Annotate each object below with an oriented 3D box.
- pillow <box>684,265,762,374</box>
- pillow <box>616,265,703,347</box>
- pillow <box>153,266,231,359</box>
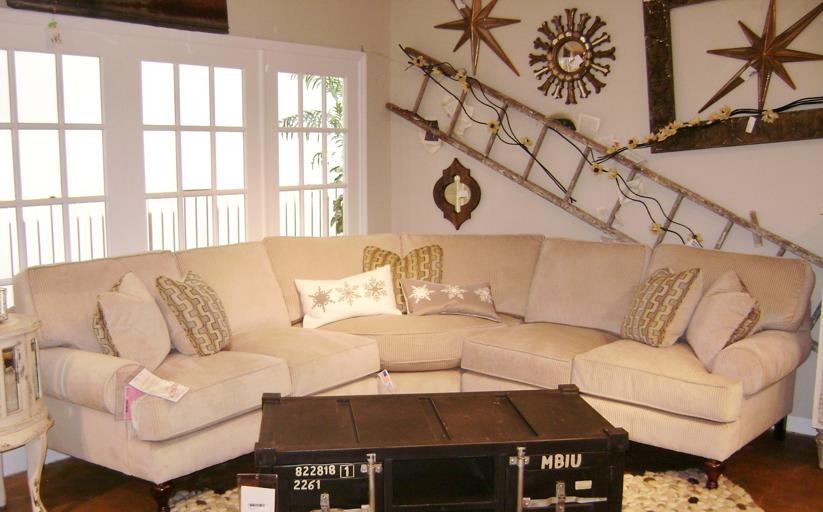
[{"bbox_3d":[1.950,0.380,3.934,0.469,0.553,0.328,-8,14,-37],"label":"pillow"},{"bbox_3d":[1.642,0.320,4.073,0.208,0.491,0.513,32,-5,-23],"label":"pillow"},{"bbox_3d":[-1.412,0.365,3.904,0.341,0.449,0.559,-1,8,20],"label":"pillow"}]
